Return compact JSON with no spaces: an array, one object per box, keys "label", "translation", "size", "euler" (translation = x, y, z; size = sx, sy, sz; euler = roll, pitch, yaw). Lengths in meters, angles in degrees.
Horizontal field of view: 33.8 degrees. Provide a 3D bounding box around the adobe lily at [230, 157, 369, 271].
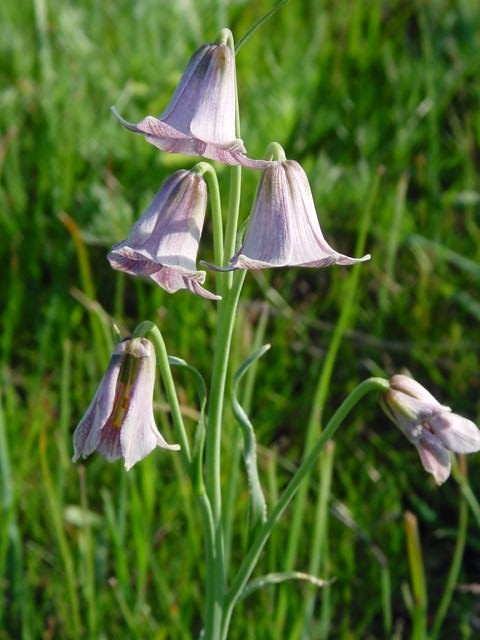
[{"label":"adobe lily","translation":[0.085,-0.149,1.267],"size":[0.191,0.144,0.196],"euler":[-1,5,39]}]
